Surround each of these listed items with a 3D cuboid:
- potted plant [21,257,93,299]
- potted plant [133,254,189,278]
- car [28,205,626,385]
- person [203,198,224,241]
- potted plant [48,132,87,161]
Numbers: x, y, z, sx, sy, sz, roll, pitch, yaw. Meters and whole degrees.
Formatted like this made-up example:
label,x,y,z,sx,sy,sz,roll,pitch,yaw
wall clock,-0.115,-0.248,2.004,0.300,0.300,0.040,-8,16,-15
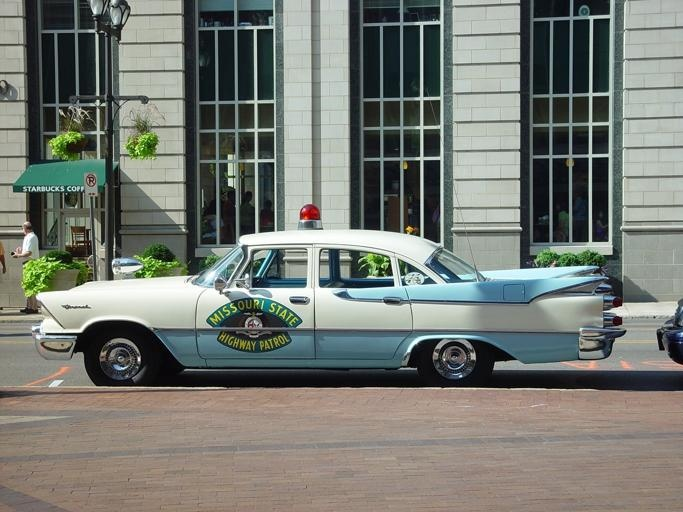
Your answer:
label,x,y,z,sx,sy,sz,roll,pitch,yaw
potted plant,-6.491,0.387,21.458,1.269,0.724,1.213,-2,-2,-37
potted plant,-4.185,0.255,22.282,1.059,0.474,1.230,0,0,-10
car,-0.421,0.510,13.419,7.098,1.902,2.844,0,-4,3
person,-3.470,-0.894,25.762,0.829,0.930,0.301,3,3,-1
potted plant,-6.790,-2.838,23.952,0.910,0.510,0.827,-7,-6,0
